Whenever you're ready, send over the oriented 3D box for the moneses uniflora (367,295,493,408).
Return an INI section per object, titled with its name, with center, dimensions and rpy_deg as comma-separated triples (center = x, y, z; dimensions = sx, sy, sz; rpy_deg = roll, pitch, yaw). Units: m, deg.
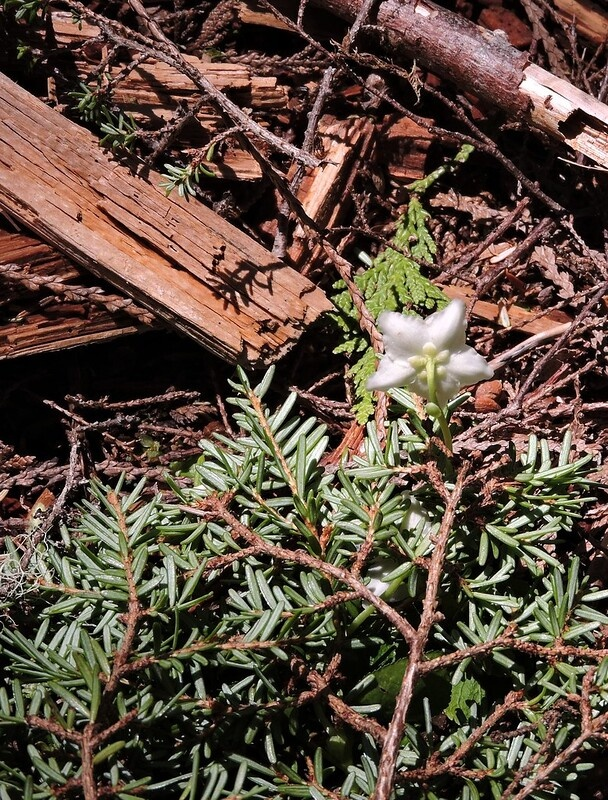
[moneses uniflora]
center = 0.254, -0.086, 1.875
dimensions = 0.250, 0.239, 0.157
rpy_deg = 0, 61, 1
